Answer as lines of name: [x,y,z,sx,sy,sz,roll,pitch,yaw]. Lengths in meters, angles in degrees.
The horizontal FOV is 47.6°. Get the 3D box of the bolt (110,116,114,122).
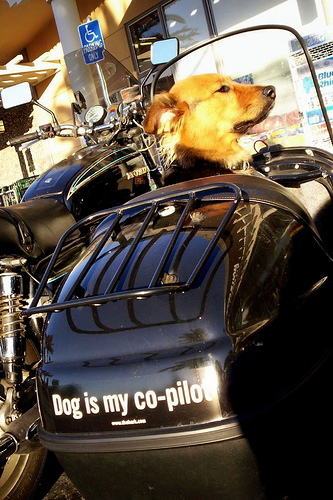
bolt: [-0.398,-0.952,2.753,0.016,0.048,0.035,5,1,-27]

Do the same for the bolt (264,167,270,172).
bolt: [0.475,-0.381,1.787,0.005,0.019,0.019,9,1,-30]

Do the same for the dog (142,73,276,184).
dog: [0.192,-0.634,1.914,0.632,0.516,0.814,-7,17,15]

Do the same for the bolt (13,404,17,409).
bolt: [-0.675,0.696,1.682,0.019,0.015,0.013,-14,20,23]

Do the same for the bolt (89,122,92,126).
bolt: [-0.571,-0.944,2.839,0.020,0.019,0.005,21,7,34]

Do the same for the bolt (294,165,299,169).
bolt: [0.578,-0.370,1.687,0.015,0.015,0.003,6,-10,9]

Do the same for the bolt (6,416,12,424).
bolt: [-0.694,0.748,1.661,0.024,0.024,0.009,1,-9,15]

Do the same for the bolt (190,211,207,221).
bolt: [0.084,-0.092,1.021,0.030,0.030,0.011,-5,-37,8]

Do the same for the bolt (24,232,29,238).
bolt: [-0.680,-0.075,1.836,0.014,0.019,0.006,2,-2,13]

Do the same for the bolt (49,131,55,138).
bolt: [-0.929,-0.941,3.075,0.039,0.037,0.029,-5,6,28]

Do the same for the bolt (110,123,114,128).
bolt: [-0.390,-0.887,2.693,0.021,0.021,0.021,-3,-5,-8]

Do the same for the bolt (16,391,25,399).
bolt: [-0.658,0.652,1.705,0.027,0.006,0.027,-5,8,-35]

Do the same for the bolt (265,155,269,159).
bolt: [0.506,-0.472,1.914,0.014,0.014,0.005,-4,-14,33]
